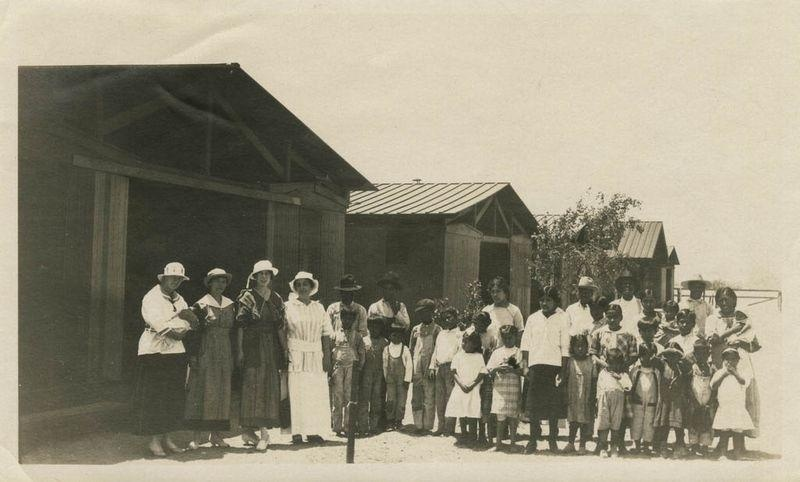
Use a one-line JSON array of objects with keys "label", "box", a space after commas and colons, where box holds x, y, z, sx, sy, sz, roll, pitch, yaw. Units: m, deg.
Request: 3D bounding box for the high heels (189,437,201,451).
[{"label": "high heels", "box": [-2.846, 2.789, 15.123, 0.109, 0.130, 0.257, 2, -15, 3]}]

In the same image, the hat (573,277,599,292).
[{"label": "hat", "box": [2.795, 0.612, 16.111, 0.247, 0.086, 0.261, 5, -18, 36]}]

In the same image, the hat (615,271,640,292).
[{"label": "hat", "box": [3.406, 0.622, 16.514, 0.378, 0.151, 0.398, 2, -44, 4]}]

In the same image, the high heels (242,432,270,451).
[{"label": "high heels", "box": [-2.021, 2.778, 15.331, 0.189, 0.185, 0.519, 1, 0, 26]}]

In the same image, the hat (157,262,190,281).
[{"label": "hat", "box": [-3.180, 0.405, 14.991, 0.421, 0.160, 0.386, 2, -3, 34]}]
